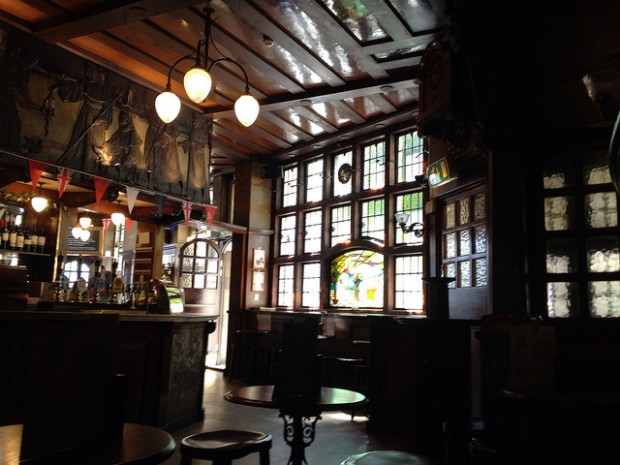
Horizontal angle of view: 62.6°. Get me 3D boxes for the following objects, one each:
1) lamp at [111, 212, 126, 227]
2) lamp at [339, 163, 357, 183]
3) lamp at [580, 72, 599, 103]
[{"bbox_3d":[-3.767,-0.257,10.021,0.259,0.238,0.248,6,-1,28],"label":"lamp"},{"bbox_3d":[0.729,-1.213,10.429,0.134,0.420,0.568,8,-12,-30],"label":"lamp"},{"bbox_3d":[2.225,-1.151,4.039,0.082,0.231,0.163,-4,-12,24],"label":"lamp"}]
